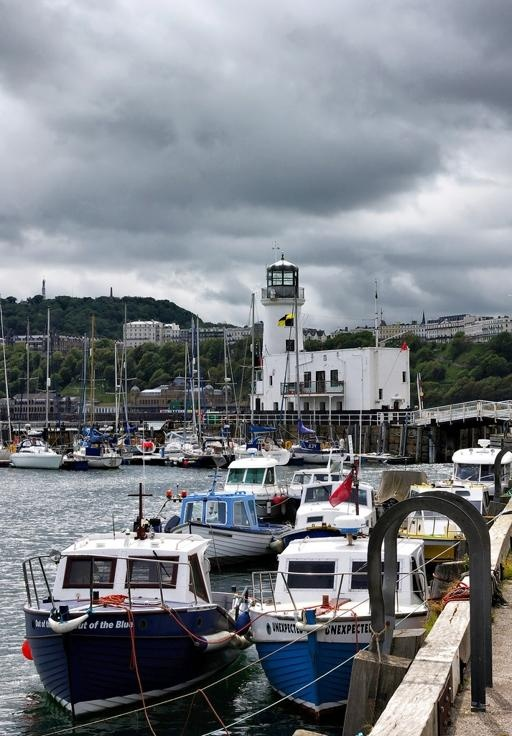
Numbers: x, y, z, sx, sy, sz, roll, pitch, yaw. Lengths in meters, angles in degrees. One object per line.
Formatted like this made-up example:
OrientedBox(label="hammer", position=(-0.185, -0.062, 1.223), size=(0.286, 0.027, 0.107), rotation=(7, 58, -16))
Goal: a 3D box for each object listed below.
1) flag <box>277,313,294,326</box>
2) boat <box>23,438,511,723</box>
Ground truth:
OrientedBox(label="flag", position=(2.563, -4.078, 92.038), size=(0.994, 0.967, 0.176), rotation=(9, 21, 11))
OrientedBox(label="boat", position=(-0.795, 3.817, 17.150), size=(5.441, 3.540, 3.802), rotation=(-1, 0, -15))
